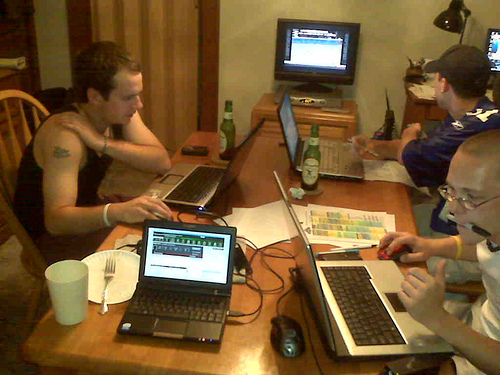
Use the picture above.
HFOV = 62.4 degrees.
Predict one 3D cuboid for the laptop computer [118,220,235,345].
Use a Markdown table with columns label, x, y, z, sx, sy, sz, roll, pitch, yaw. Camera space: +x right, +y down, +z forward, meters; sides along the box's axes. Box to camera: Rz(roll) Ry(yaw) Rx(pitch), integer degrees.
| label | x | y | z | sx | sy | sz | roll | pitch | yaw |
| --- | --- | --- | --- | --- | --- | --- | --- | --- | --- |
| laptop computer | -0.202 | 0.258 | 1.170 | 0.288 | 0.259 | 0.220 | 4 | 19 | 4 |

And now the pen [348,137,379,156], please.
| label | x | y | z | sx | sy | sz | roll | pitch | yaw |
| --- | --- | --- | --- | --- | --- | --- | --- | --- | --- |
| pen | 0.567 | -0.202 | 2.065 | 0.143 | 0.024 | 0.017 | 37 | -11 | 3 |

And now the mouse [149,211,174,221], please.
| label | x | y | z | sx | sy | sz | roll | pitch | yaw |
| --- | --- | --- | --- | --- | --- | --- | --- | --- | --- |
| mouse | -0.311 | 0.101 | 1.459 | 0.044 | 0.011 | 0.046 | 37 | -15 | -21 |

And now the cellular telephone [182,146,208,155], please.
| label | x | y | z | sx | sy | sz | roll | pitch | yaw |
| --- | --- | --- | --- | --- | --- | --- | --- | --- | --- |
| cellular telephone | -0.275 | -0.189 | 2.071 | 0.081 | 0.019 | 0.059 | 2 | 23 | 3 |

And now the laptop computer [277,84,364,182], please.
| label | x | y | z | sx | sy | sz | roll | pitch | yaw |
| --- | --- | --- | --- | --- | --- | --- | --- | --- | --- |
| laptop computer | 0.272 | -0.219 | 1.979 | 0.418 | 0.439 | 0.493 | 5 | 26 | 7 |

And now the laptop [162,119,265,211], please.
| label | x | y | z | sx | sy | sz | roll | pitch | yaw |
| --- | --- | --- | --- | --- | --- | --- | --- | --- | --- |
| laptop | -0.235 | -0.039 | 1.861 | 0.470 | 0.340 | 0.553 | 7 | -8 | 3 |

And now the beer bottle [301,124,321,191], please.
| label | x | y | z | sx | sy | sz | roll | pitch | yaw |
| --- | --- | --- | --- | --- | --- | --- | --- | --- | --- |
| beer bottle | 0.262 | -0.125 | 1.758 | 0.076 | 0.276 | 0.081 | 4 | 11 | -1 |

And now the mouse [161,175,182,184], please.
| label | x | y | z | sx | sy | sz | roll | pitch | yaw |
| --- | --- | --- | --- | --- | --- | --- | --- | --- | --- |
| mouse | -0.344 | -0.035 | 1.786 | 0.042 | 0.013 | 0.047 | 3 | 33 | 11 |

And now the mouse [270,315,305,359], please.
| label | x | y | z | sx | sy | sz | roll | pitch | yaw |
| --- | --- | --- | --- | --- | --- | --- | --- | --- | --- |
| mouse | 0.098 | 0.403 | 1.151 | 0.111 | 0.082 | 0.114 | 1 | 23 | 6 |

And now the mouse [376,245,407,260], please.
| label | x | y | z | sx | sy | sz | roll | pitch | yaw |
| --- | --- | --- | --- | --- | --- | --- | --- | --- | --- |
| mouse | 0.491 | 0.231 | 1.431 | 0.087 | 0.017 | 0.047 | -18 | 27 | 13 |

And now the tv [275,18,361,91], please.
| label | x | y | z | sx | sy | sz | roll | pitch | yaw |
| --- | --- | --- | --- | --- | --- | --- | --- | --- | --- |
| tv | 0.512 | -1.042 | 3.168 | 0.657 | 0.503 | 0.174 | 2 | 29 | 3 |

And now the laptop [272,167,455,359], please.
| label | x | y | z | sx | sy | sz | roll | pitch | yaw |
| --- | --- | --- | --- | --- | --- | --- | --- | --- | --- |
| laptop | 0.326 | 0.219 | 1.227 | 0.427 | 0.316 | 0.508 | -3 | 18 | -7 |

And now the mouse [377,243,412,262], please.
| label | x | y | z | sx | sy | sz | roll | pitch | yaw |
| --- | --- | --- | --- | --- | --- | --- | --- | --- | --- |
| mouse | 0.499 | 0.225 | 1.431 | 0.099 | 0.021 | 0.054 | 9 | 50 | 29 |

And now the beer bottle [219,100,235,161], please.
| label | x | y | z | sx | sy | sz | roll | pitch | yaw |
| --- | --- | --- | --- | --- | --- | --- | --- | --- | --- |
| beer bottle | -0.097 | -0.259 | 1.972 | 0.076 | 0.293 | 0.099 | 4 | 27 | 3 |

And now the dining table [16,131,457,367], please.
| label | x | y | z | sx | sy | sz | roll | pitch | yaw |
| --- | --- | --- | --- | --- | --- | --- | --- | --- | --- |
| dining table | -0.013 | 0.266 | 1.328 | 0.782 | 0.291 | 1.217 | 2 | 28 | 1 |
